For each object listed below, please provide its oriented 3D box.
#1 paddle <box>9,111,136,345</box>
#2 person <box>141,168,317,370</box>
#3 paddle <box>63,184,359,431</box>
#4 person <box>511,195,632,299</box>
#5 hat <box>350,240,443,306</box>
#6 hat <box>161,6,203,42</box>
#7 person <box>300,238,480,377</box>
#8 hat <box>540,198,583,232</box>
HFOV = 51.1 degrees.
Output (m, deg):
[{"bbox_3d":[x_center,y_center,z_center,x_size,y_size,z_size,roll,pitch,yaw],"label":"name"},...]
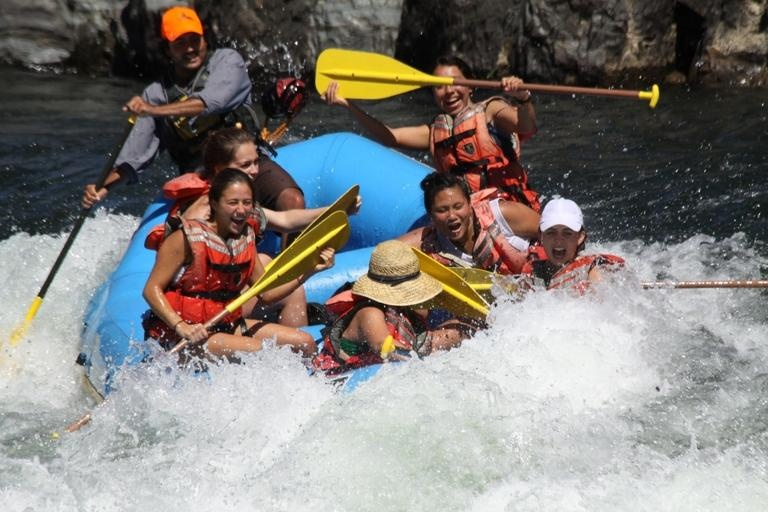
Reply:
[{"bbox_3d":[-2.977,-0.223,7.644,0.299,0.201,2.680,25,80,17],"label":"paddle"},{"bbox_3d":[-1.214,0.057,5.783,1.135,1.200,0.796,-11,34,-17],"label":"person"},{"bbox_3d":[-1.237,0.431,5.995,2.513,0.267,0.349,-41,80,-7],"label":"paddle"},{"bbox_3d":[1.313,-0.063,5.831,0.550,0.307,0.815,-9,7,6],"label":"person"},{"bbox_3d":[0.093,0.153,5.704,0.506,0.276,0.496,7,20,40],"label":"hat"},{"bbox_3d":[-1.758,-1.988,6.905,0.256,0.197,0.362,-10,19,-14],"label":"hat"},{"bbox_3d":[0.023,0.373,5.823,1.219,0.679,0.745,-14,24,12],"label":"person"},{"bbox_3d":[1.298,-0.291,5.810,0.298,0.241,0.208,12,34,19],"label":"hat"}]
